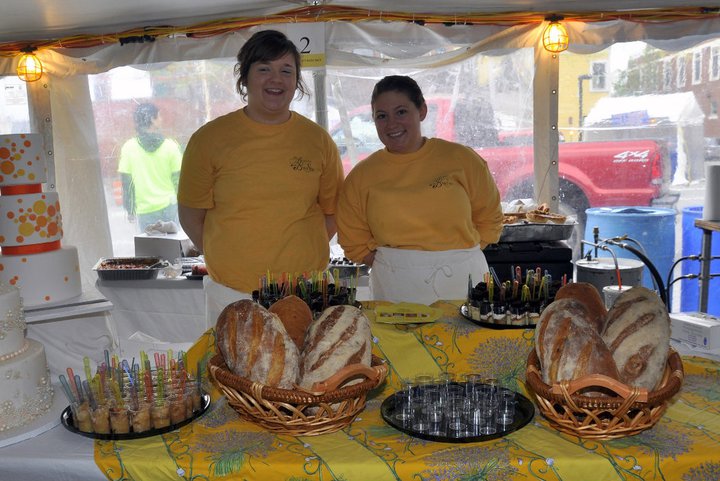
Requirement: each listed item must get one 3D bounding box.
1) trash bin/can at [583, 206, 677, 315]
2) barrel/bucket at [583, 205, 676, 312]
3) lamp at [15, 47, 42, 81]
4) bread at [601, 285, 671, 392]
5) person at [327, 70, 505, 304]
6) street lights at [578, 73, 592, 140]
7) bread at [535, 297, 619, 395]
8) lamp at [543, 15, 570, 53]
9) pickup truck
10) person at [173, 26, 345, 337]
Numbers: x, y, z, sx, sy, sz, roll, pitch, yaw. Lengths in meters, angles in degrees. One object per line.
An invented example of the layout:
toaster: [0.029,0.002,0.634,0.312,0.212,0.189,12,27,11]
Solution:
trash bin/can: [2.551,0.123,5.706,0.830,0.887,0.831,-1,4,-3]
barrel/bucket: [2.530,0.104,5.967,0.823,0.877,0.822,0,3,0]
lamp: [-2.983,-1.590,5.307,0.251,0.291,0.169,0,7,23]
bread: [1.028,0.365,2.178,0.225,0.387,0.128,-6,-15,24]
person: [0.346,-0.323,3.737,1.054,1.404,0.539,-2,7,11]
street lights: [2.077,-1.241,5.470,0.110,0.588,0.090,-2,7,9]
bread: [0.783,0.385,2.163,0.117,0.336,0.190,-1,-38,-1]
lamp: [1.628,-1.726,4.899,0.222,0.290,0.133,-2,7,11]
pickup truck: [1.481,-0.609,5.769,2.750,0.929,1.433,0,9,-4]
person: [-0.619,-0.372,3.701,1.026,1.763,0.419,-5,7,-15]
